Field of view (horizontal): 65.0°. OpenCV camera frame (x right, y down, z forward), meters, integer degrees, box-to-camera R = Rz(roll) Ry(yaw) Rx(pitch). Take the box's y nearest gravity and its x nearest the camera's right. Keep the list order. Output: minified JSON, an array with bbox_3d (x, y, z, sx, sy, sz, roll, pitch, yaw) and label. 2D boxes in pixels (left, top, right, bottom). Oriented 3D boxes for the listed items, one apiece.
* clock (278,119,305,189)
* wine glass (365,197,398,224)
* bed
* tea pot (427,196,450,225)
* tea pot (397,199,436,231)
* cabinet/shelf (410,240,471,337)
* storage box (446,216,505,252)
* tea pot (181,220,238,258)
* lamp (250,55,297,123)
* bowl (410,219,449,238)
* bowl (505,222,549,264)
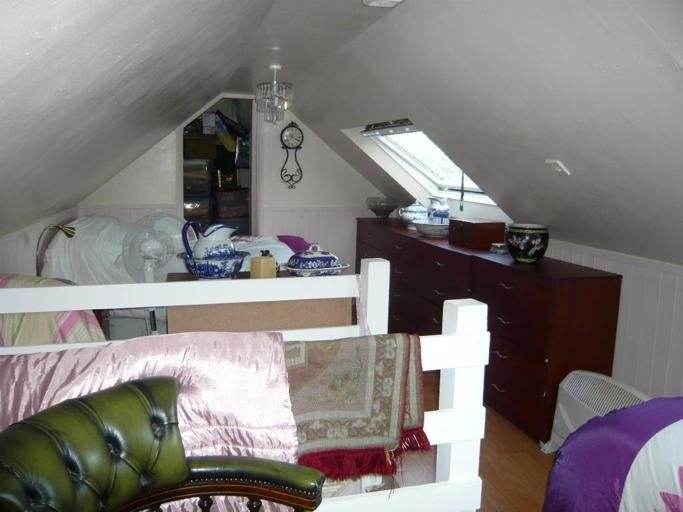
[{"bbox_3d":[-0.557,-1.118,6.044,0.268,0.602,0.149,-1,0,-7],"label":"clock"},{"bbox_3d":[0.421,-0.482,5.717,0.248,0.185,0.262,0,6,-5],"label":"wine glass"},{"bbox_3d":[-1.360,-0.053,3.672,1.144,0.297,0.807,-4,21,-9],"label":"bed"},{"bbox_3d":[0.802,-0.375,4.474,0.173,0.253,0.233,0,-2,-14],"label":"tea pot"},{"bbox_3d":[0.665,-0.366,4.886,0.208,0.216,0.289,8,13,41],"label":"tea pot"},{"bbox_3d":[0.644,0.185,3.485,0.187,0.573,0.591,-2,13,-12],"label":"cabinet/shelf"},{"bbox_3d":[1.004,-0.219,3.889,0.227,0.179,0.324,-4,10,-20],"label":"storage box"},{"bbox_3d":[-0.684,-0.101,2.774,0.247,0.308,0.207,-7,15,-19],"label":"tea pot"},{"bbox_3d":[-0.555,-1.325,4.462,0.268,0.493,0.272,2,0,-29],"label":"lamp"},{"bbox_3d":[0.755,-0.213,4.385,0.161,0.103,0.388,-1,0,-45],"label":"bowl"},{"bbox_3d":[1.160,-0.078,3.361,0.238,0.242,0.273,2,7,15],"label":"bowl"}]
